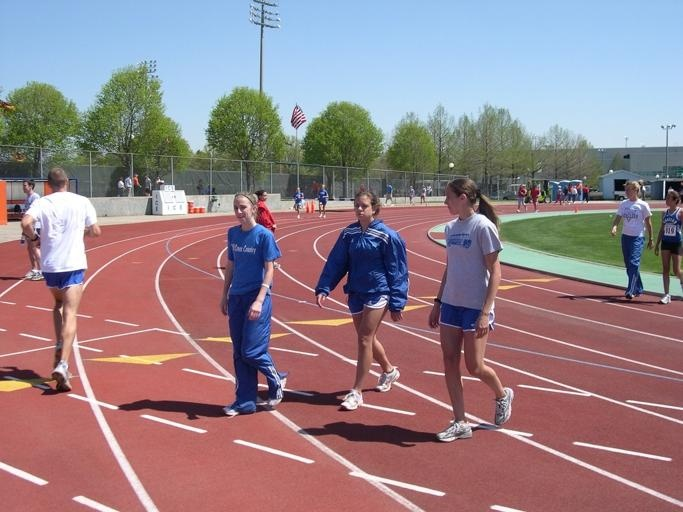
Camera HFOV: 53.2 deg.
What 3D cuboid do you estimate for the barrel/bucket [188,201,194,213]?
[{"bbox_3d":[-8.750,-2.846,39.625,0.318,0.621,0.851,-2,8,-14],"label":"barrel/bucket"}]

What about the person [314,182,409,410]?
[{"bbox_3d":[0.237,0.457,7.381,0.946,2.296,0.561,1,7,4],"label":"person"}]

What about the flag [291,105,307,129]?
[{"bbox_3d":[-3.429,-11.085,54.169,0.878,1.876,3.331,0,8,-6],"label":"flag"}]

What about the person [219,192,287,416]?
[{"bbox_3d":[-0.938,0.483,7.232,0.634,2.268,0.567,-1,8,-10],"label":"person"}]

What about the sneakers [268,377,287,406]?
[{"bbox_3d":[-0.662,1.483,7.366,0.141,0.295,0.169,22,-2,-17],"label":"sneakers"}]

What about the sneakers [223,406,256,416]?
[{"bbox_3d":[-1.052,1.573,7.107,0.296,0.150,0.123,4,-3,-14],"label":"sneakers"}]

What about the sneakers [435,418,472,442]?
[{"bbox_3d":[1.099,1.663,6.636,0.366,0.194,0.152,-5,16,-12],"label":"sneakers"}]

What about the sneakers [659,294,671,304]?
[{"bbox_3d":[5.936,0.778,12.463,0.105,0.140,0.301,-3,-3,41],"label":"sneakers"}]

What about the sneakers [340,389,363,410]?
[{"bbox_3d":[0.119,1.541,7.335,0.128,0.146,0.282,2,-1,24],"label":"sneakers"}]

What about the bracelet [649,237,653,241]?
[{"bbox_3d":[6.070,-0.337,13.362,0.064,0.034,0.077,1,-35,15],"label":"bracelet"}]

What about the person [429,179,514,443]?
[{"bbox_3d":[1.246,0.512,6.554,0.779,2.490,0.618,1,7,7],"label":"person"}]

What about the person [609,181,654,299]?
[{"bbox_3d":[5.486,-0.301,12.825,0.638,2.205,0.646,4,8,23],"label":"person"}]

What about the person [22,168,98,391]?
[{"bbox_3d":[-3.214,0.229,7.923,0.769,2.466,1.031,-4,9,-32],"label":"person"}]

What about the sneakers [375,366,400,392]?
[{"bbox_3d":[0.537,1.417,7.947,0.141,0.170,0.373,-11,31,42],"label":"sneakers"}]

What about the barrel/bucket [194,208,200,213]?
[{"bbox_3d":[-8.441,-2.683,39.956,0.231,0.267,0.529,1,9,7],"label":"barrel/bucket"}]

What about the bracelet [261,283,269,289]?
[{"bbox_3d":[-0.785,0.304,7.098,0.093,0.071,0.065,-3,9,-20],"label":"bracelet"}]

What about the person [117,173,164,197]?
[{"bbox_3d":[-11.168,-3.889,37.719,0.698,1.094,3.045,3,9,20],"label":"person"}]

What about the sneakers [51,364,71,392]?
[{"bbox_3d":[-3.146,1.395,7.671,0.150,0.372,0.180,2,40,-5],"label":"sneakers"}]
